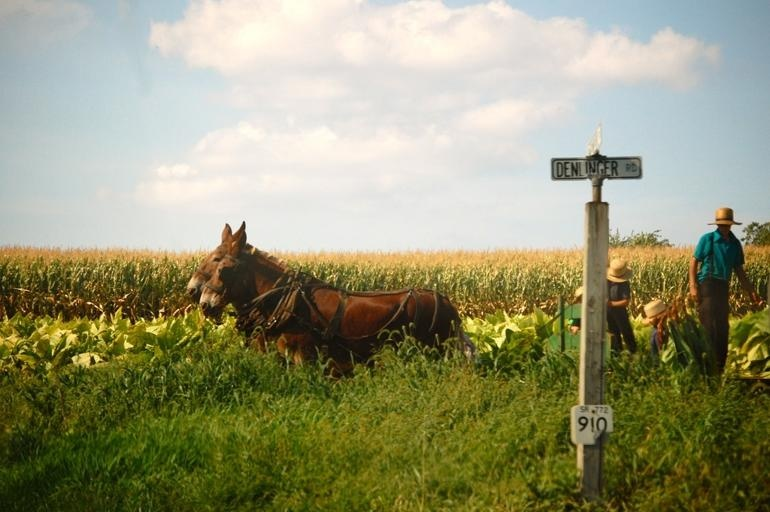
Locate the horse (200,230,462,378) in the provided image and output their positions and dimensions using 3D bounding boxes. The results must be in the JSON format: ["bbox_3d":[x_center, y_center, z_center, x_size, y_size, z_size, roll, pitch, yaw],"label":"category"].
[{"bbox_3d":[-1.123,0.916,15.082,3.356,2.035,0.827,9,-4,-33],"label":"horse"}]

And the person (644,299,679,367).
[{"bbox_3d":[3.626,0.975,13.946,0.348,0.724,0.915,1,0,4],"label":"person"}]

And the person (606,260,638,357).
[{"bbox_3d":[3.191,0.666,14.334,0.408,1.158,0.728,1,0,12],"label":"person"}]
